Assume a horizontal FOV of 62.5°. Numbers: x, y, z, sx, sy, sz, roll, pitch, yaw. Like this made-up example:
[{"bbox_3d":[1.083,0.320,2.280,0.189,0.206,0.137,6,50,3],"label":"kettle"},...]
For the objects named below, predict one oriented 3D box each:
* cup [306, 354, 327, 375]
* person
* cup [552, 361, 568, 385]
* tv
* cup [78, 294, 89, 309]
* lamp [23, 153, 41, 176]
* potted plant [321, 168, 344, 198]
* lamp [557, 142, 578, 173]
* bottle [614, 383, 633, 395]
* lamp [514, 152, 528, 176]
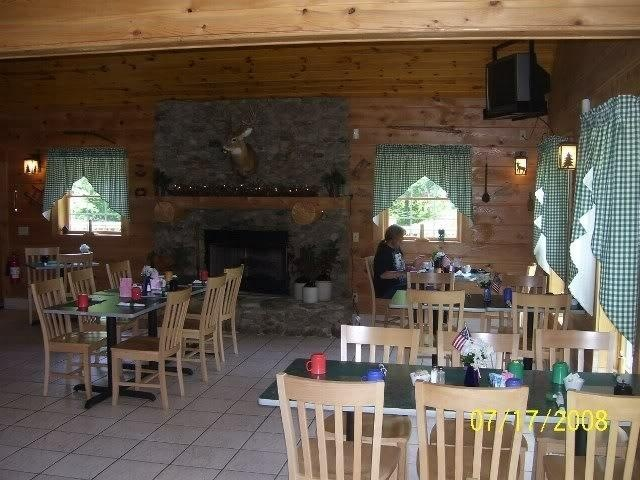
[{"bbox_3d":[-0.050,0.753,3.235,0.163,0.117,0.092,0,4,-6],"label":"cup"},{"bbox_3d":[1.168,0.498,6.826,0.978,1.330,0.659,-4,5,17],"label":"person"},{"bbox_3d":[1.428,0.781,3.143,0.096,0.128,0.187,4,8,24],"label":"cup"},{"bbox_3d":[1.806,-1.432,4.880,0.555,0.536,0.302,4,9,24],"label":"tv"},{"bbox_3d":[-2.148,0.546,4.772,0.094,0.128,0.215,-4,8,-26],"label":"cup"},{"bbox_3d":[-4.663,-1.216,8.471,0.320,0.359,0.127,3,9,20],"label":"lamp"},{"bbox_3d":[0.172,-0.797,7.384,0.333,0.382,0.155,2,3,19],"label":"potted plant"},{"bbox_3d":[2.454,-0.832,5.247,0.176,0.253,0.269,3,9,22],"label":"lamp"},{"bbox_3d":[1.682,0.826,2.920,0.100,0.052,0.092,-1,6,0],"label":"bottle"},{"bbox_3d":[2.770,-1.051,7.277,0.175,0.321,0.257,3,9,18],"label":"lamp"}]
